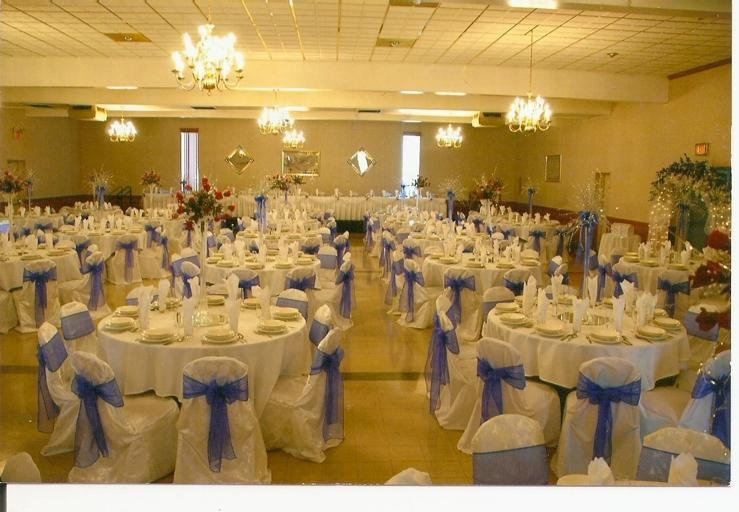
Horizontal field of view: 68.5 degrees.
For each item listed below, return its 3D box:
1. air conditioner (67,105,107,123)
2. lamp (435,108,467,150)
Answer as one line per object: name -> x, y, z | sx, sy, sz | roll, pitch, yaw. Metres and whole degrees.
air conditioner -> -7.724, -3.874, 14.646 | 0.907, 0.348, 1.026 | -3, 14, -17
lamp -> 2.656, -4.238, 18.115 | 0.632, 1.242, 0.741 | -24, 42, -27
